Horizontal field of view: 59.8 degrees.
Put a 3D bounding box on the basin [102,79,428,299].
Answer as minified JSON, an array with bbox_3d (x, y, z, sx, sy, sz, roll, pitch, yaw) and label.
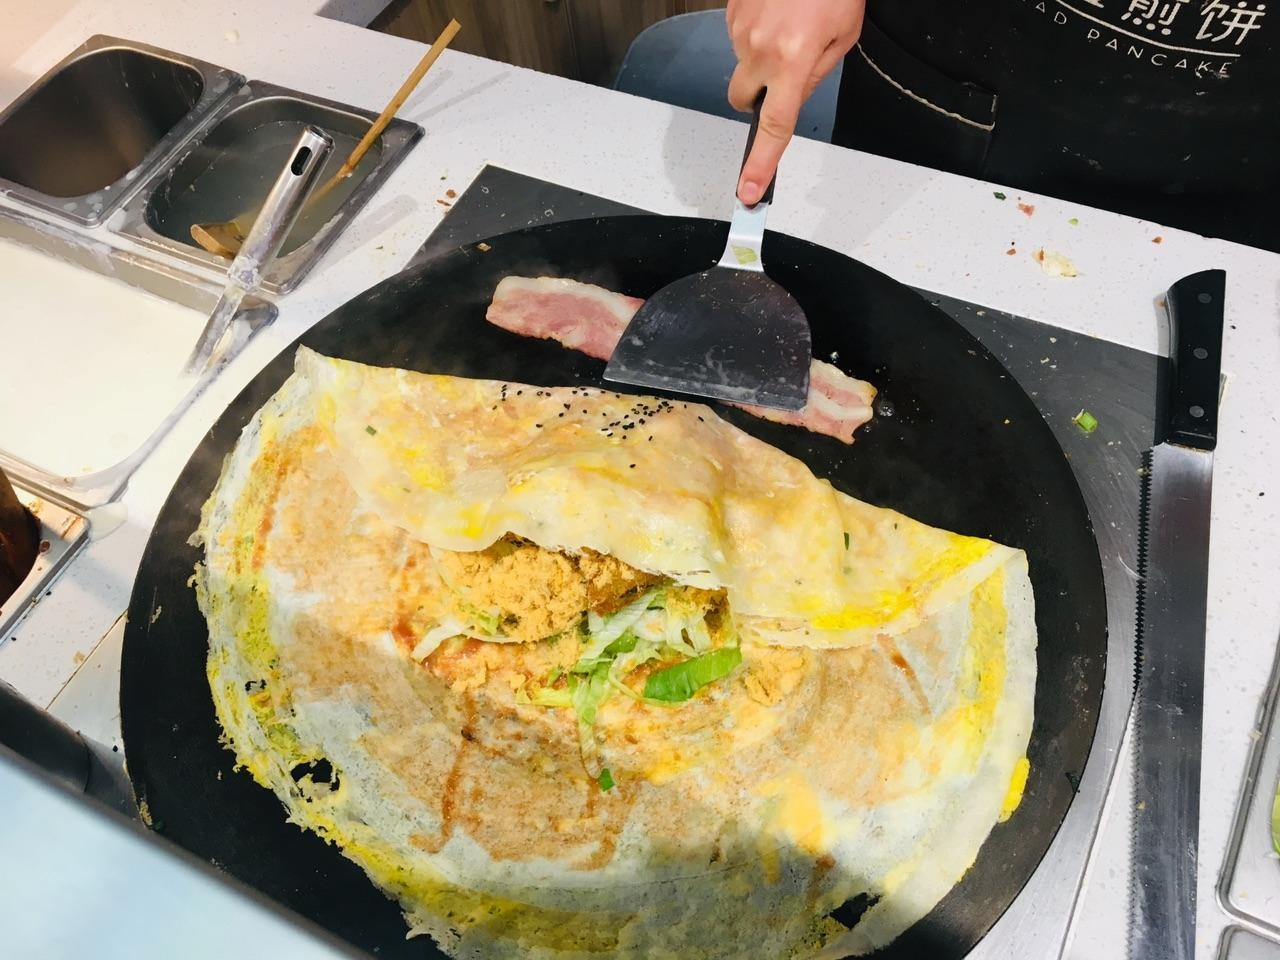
[{"bbox_3d":[-0.941,-0.682,2.711,0.558,0.143,0.616,26,65,9],"label":"basin"}]

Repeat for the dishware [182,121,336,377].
[{"bbox_3d":[-0.845,-0.482,2.419,0.112,0.627,0.117,29,23,-17],"label":"dishware"}]

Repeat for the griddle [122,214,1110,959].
[{"bbox_3d":[-0.050,0.154,2.083,1.716,0.221,1.504,-9,71,-5],"label":"griddle"}]
